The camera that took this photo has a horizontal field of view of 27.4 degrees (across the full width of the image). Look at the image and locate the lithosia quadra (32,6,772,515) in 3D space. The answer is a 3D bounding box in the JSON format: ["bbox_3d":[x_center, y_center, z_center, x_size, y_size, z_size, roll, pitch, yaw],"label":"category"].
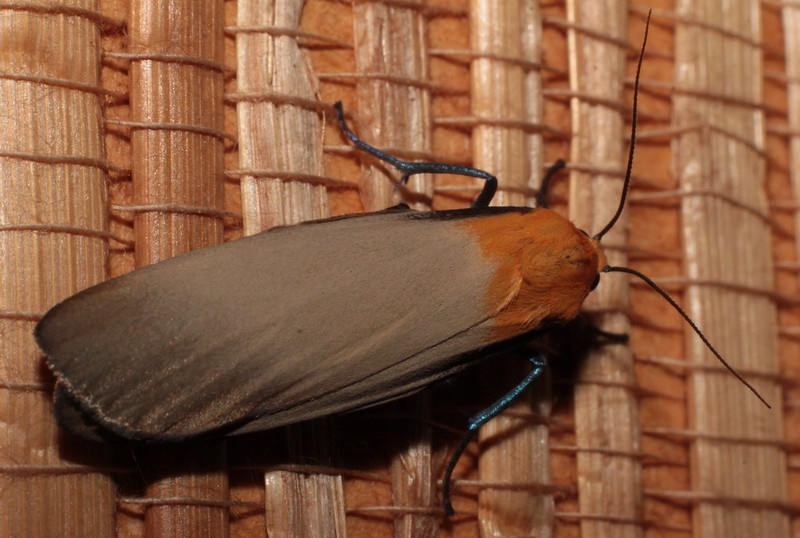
[{"bbox_3d":[-0.007,0.094,6.451,2.800,0.670,1.890,-16,78,-22],"label":"lithosia quadra"}]
